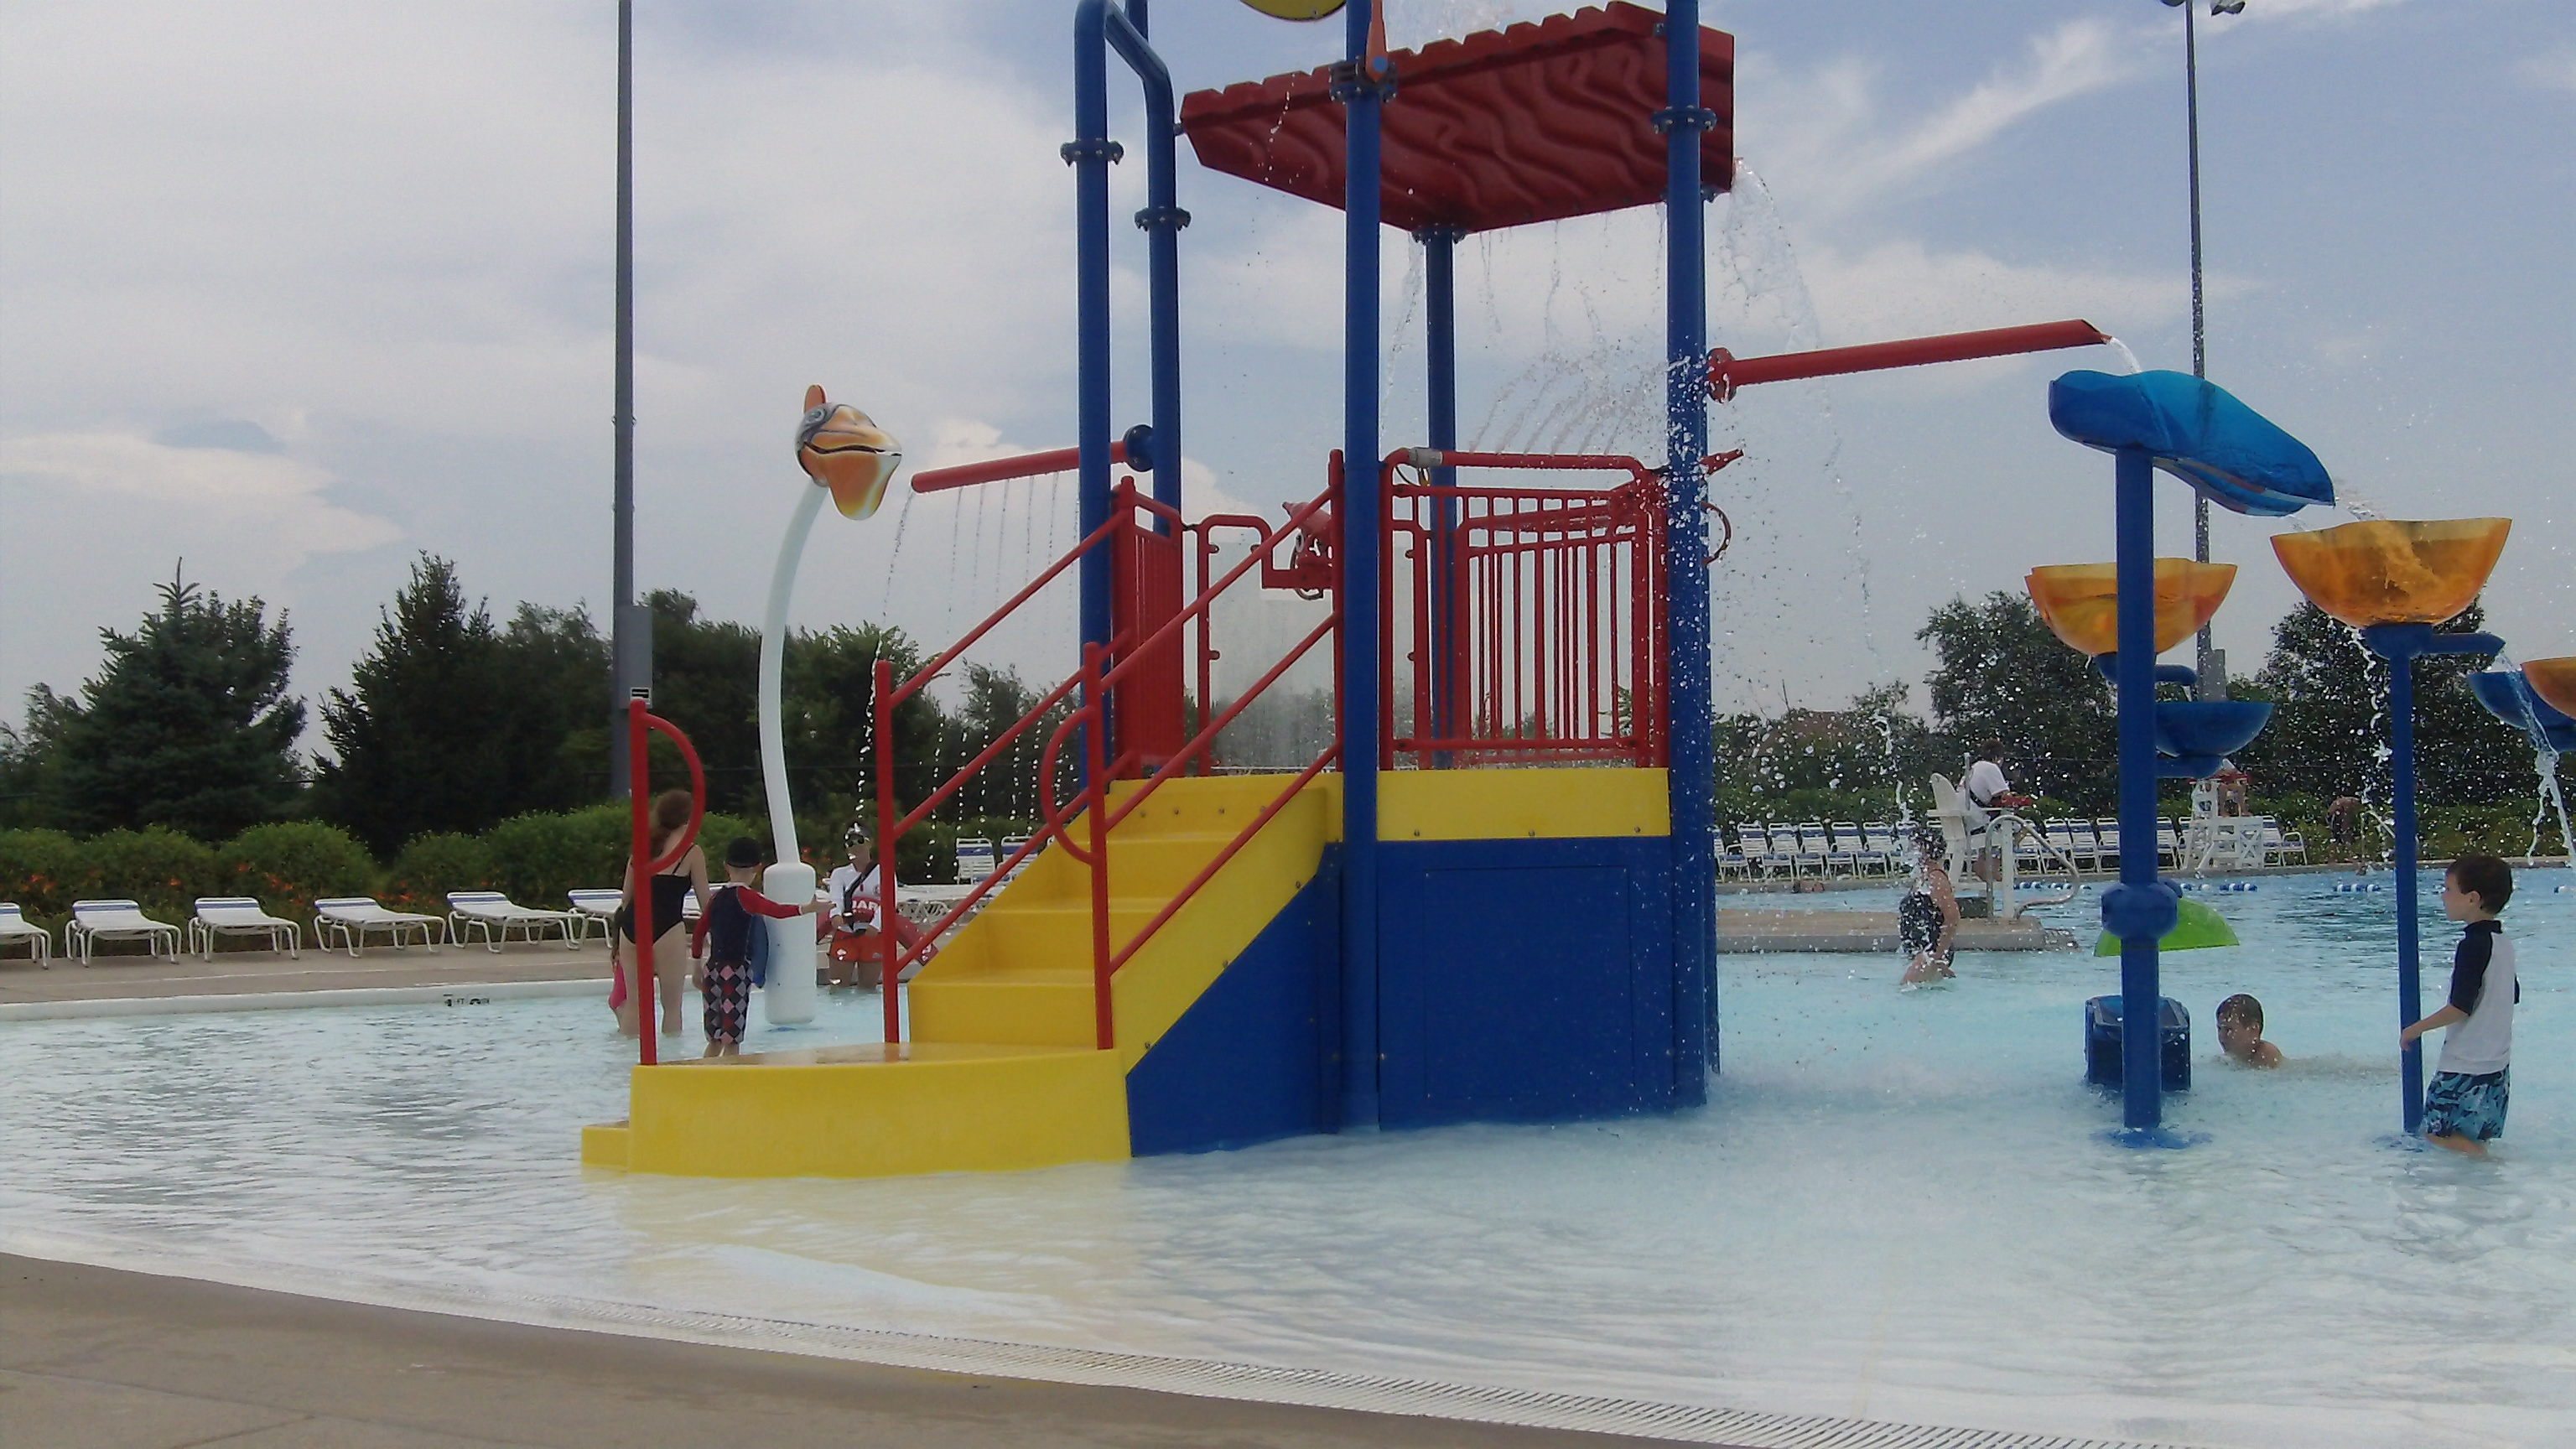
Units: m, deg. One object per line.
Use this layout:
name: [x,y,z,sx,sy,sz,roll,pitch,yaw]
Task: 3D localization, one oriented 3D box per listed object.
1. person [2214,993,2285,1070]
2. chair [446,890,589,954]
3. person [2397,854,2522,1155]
person: [14.535,4.680,43.736,0.887,1.078,0.686,-2,-4,16]
chair: [-15.088,3.887,55.745,1.251,0.738,2.200,2,-2,-37]
person: [16.646,3.982,40.834,1.230,4.188,0.729,-2,-4,19]
